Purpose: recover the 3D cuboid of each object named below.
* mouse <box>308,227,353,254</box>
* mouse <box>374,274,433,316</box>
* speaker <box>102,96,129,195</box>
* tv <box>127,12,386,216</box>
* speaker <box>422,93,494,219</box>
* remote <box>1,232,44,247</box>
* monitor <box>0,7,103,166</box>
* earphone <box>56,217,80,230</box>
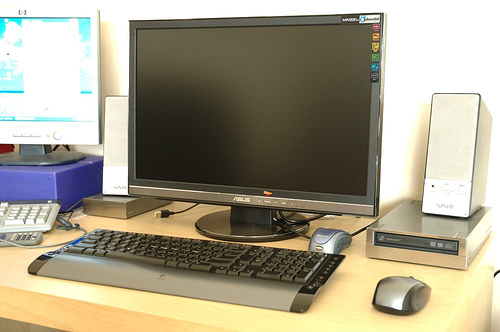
[{"bbox_3d":[0.211,0.202,1.090,0.078,0.045,0.144,7,9,27],"label":"mouse"},{"bbox_3d":[0.334,0.269,0.861,0.107,0.046,0.149,2,10,32],"label":"mouse"},{"bbox_3d":[-0.482,-0.073,1.413,0.101,0.338,0.140,-4,16,-15],"label":"speaker"},{"bbox_3d":[0.030,-0.159,1.153,0.703,0.442,0.057,2,3,14],"label":"tv"},{"bbox_3d":[0.577,-0.029,1.115,0.141,0.340,0.120,5,16,16],"label":"speaker"},{"bbox_3d":[-0.658,0.208,1.137,0.085,0.010,0.046,2,12,-1],"label":"remote"},{"bbox_3d":[-0.770,-0.337,1.514,0.379,0.499,0.126,0,16,-2],"label":"monitor"},{"bbox_3d":[-0.585,0.182,1.252,0.046,0.011,0.044,6,9,4],"label":"earphone"}]
